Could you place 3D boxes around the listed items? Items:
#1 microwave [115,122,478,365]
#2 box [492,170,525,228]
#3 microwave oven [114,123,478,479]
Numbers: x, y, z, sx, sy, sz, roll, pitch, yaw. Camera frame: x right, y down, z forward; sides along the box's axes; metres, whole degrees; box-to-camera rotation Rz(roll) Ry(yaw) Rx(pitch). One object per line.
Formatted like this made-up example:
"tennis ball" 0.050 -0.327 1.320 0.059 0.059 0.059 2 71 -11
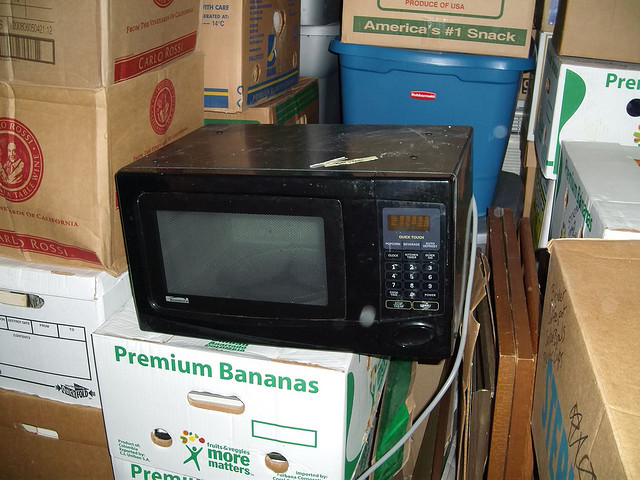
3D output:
"microwave" -0.025 -0.005 1.119 0.651 0.421 0.296 5 15 12
"box" 0.611 -0.127 1.841 0.084 0.098 0.174 12 35 8
"microwave oven" -0.030 0.099 1.140 0.641 0.629 0.322 6 15 15
